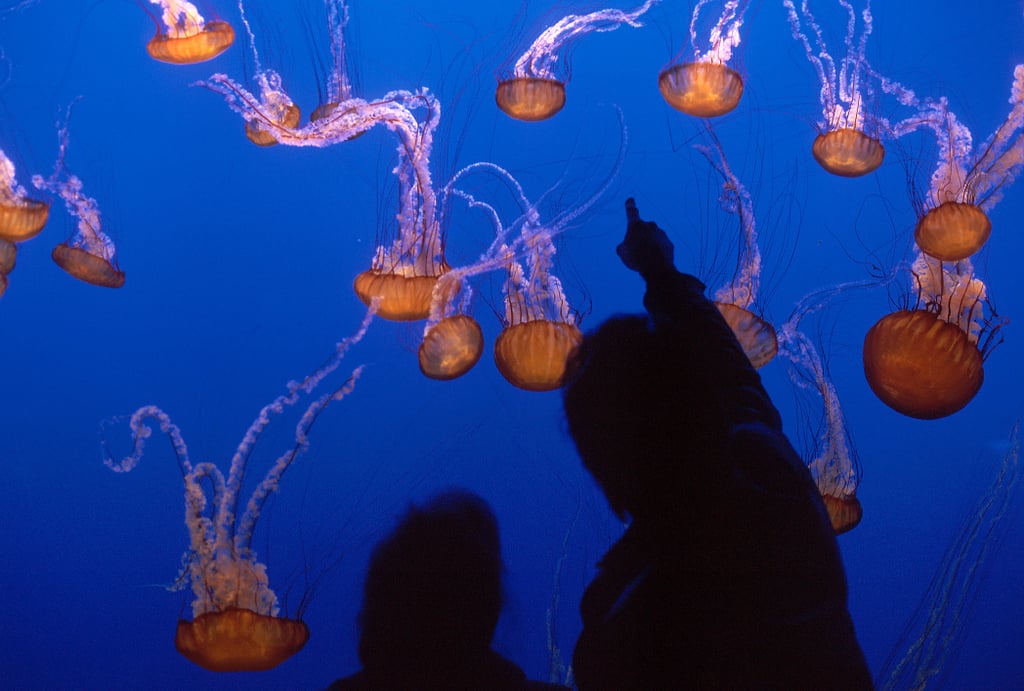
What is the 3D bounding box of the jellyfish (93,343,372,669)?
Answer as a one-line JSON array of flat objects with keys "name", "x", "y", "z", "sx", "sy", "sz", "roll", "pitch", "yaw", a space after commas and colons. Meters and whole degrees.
[{"name": "jellyfish", "x": -1.780, "y": 1.132, "z": 7.758, "sx": 1.415, "sy": 1.917, "sz": 0.415, "roll": 0, "pitch": -15, "yaw": 3}]
